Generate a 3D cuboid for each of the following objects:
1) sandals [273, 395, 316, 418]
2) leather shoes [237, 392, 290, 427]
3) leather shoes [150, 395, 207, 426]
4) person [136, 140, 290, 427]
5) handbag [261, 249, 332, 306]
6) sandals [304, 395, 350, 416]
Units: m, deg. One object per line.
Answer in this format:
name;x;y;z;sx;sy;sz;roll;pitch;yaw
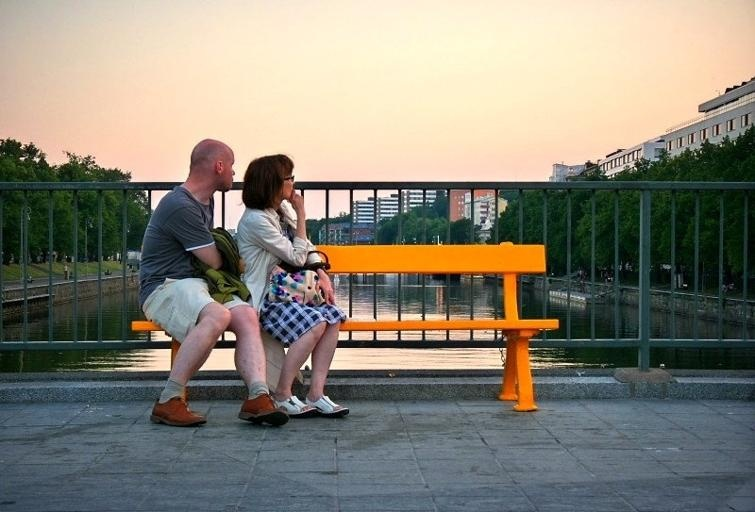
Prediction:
sandals;-0.573;1.037;5.424;0.241;0.089;0.141;5;5;12
leather shoes;-0.762;1.028;5.237;0.368;0.151;0.168;-5;-13;38
leather shoes;-1.328;1.030;5.278;0.363;0.155;0.163;2;-2;17
person;-1.179;0.160;5.344;0.950;1.939;0.615;-2;3;-4
handbag;-0.638;0.175;5.675;0.463;0.417;0.300;9;-12;-26
sandals;-0.348;1.051;5.442;0.315;0.123;0.121;10;14;13
